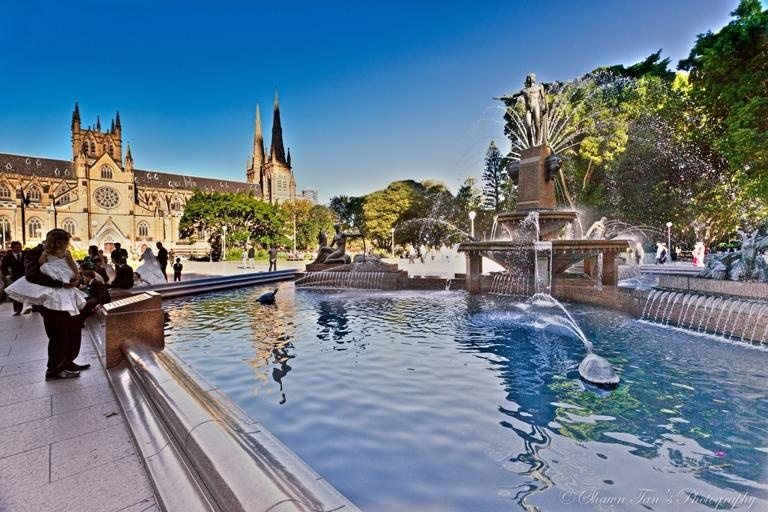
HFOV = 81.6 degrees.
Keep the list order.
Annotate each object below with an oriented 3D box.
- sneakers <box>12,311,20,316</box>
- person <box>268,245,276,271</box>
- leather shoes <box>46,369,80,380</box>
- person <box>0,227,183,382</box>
[{"bbox_3d":[-10.216,1.609,12.359,0.237,0.076,0.165,-13,-3,42],"label":"sneakers"},{"bbox_3d":[-7.578,0.262,30.266,0.430,1.458,2.836,-4,12,-17],"label":"person"},{"bbox_3d":[-5.718,2.103,7.974,0.540,0.207,0.193,2,-2,-27],"label":"leather shoes"},{"bbox_3d":[-5.996,0.858,7.996,0.949,2.588,0.917,-4,12,-15],"label":"person"}]
